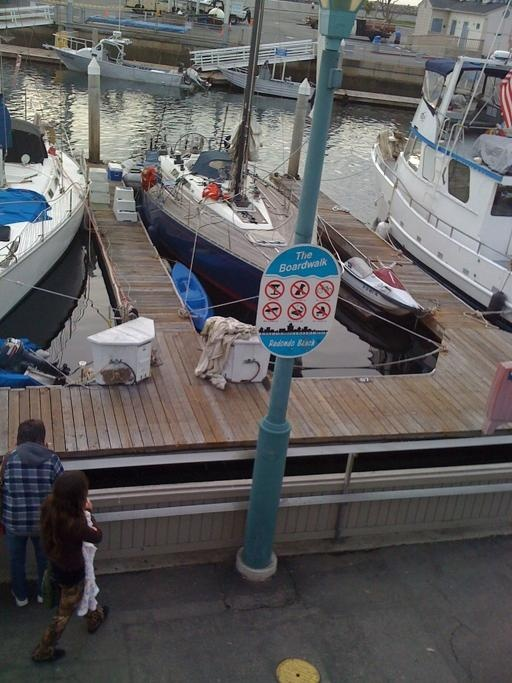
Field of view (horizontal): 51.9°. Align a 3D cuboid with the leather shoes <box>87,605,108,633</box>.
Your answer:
[{"bbox_3d":[-1.032,1.814,3.467,0.071,0.123,0.181,7,33,6],"label":"leather shoes"}]

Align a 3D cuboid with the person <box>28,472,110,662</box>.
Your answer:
[{"bbox_3d":[-1.015,1.251,2.926,0.310,1.003,0.565,8,12,28],"label":"person"}]

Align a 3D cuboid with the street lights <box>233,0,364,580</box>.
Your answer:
[{"bbox_3d":[0.244,0.056,3.487,0.377,3.972,0.605,9,28,1],"label":"street lights"}]
